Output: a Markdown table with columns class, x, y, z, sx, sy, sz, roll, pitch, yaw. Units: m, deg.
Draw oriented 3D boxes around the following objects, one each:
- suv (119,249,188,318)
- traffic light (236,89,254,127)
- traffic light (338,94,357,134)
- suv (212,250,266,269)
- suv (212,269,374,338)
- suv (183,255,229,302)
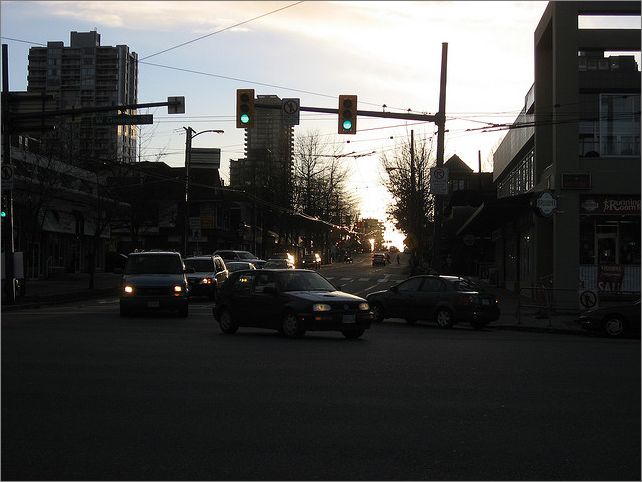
| class | x | y | z | sx | sy | sz | roll | pitch | yaw |
| --- | --- | --- | --- | --- | --- | --- | --- | --- | --- |
| suv | -5.540 | 1.364 | 22.618 | 1.420 | 1.508 | 2.872 | 0 | -7 | -7 |
| traffic light | -2.551 | -4.483 | 23.304 | 0.592 | 1.278 | 0.978 | 1 | -1 | -4 |
| traffic light | 0.882 | -4.307 | 23.338 | 0.604 | 1.339 | 0.863 | 1 | -1 | 1 |
| suv | -5.278 | 1.070 | 45.532 | 2.259 | 1.212 | 1.621 | -2 | 1 | 8 |
| suv | -0.777 | 1.655 | 17.626 | 2.987 | 1.350 | 1.966 | -4 | -6 | 43 |
| suv | -5.385 | 1.651 | 31.768 | 1.643 | 1.610 | 3.874 | -1 | -5 | 6 |
